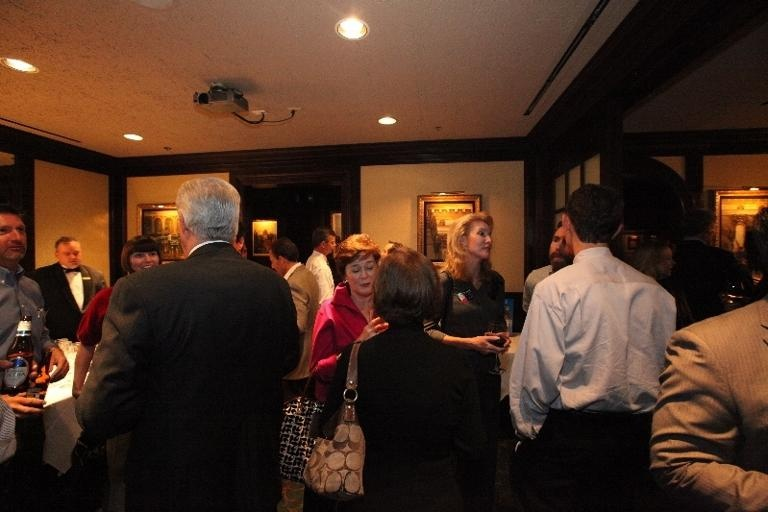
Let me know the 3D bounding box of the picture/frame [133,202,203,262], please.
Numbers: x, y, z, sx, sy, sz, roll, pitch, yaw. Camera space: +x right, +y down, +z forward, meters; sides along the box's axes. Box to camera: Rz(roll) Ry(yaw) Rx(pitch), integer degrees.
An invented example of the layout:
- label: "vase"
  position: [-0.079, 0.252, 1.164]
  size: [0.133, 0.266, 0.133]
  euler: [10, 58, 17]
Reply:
- label: "picture/frame"
  position: [-1.917, -0.205, 5.159]
  size: [0.714, 0.784, 0.060]
  euler: [-3, -1, 14]

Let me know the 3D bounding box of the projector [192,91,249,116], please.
- label: "projector"
  position: [-1.376, -1.301, 4.916]
  size: [0.438, 0.159, 0.259]
  euler: [0, 5, -17]

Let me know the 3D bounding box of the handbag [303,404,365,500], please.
- label: "handbag"
  position: [-0.248, 1.060, 3.124]
  size: [0.200, 0.450, 0.450]
  euler: [17, -29, -17]
